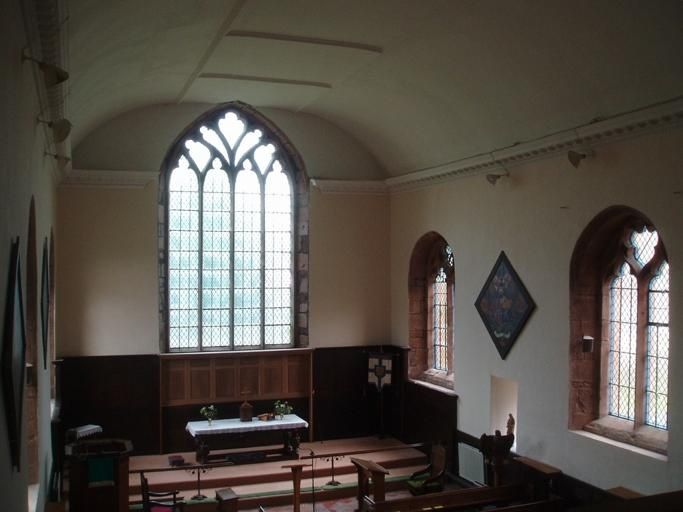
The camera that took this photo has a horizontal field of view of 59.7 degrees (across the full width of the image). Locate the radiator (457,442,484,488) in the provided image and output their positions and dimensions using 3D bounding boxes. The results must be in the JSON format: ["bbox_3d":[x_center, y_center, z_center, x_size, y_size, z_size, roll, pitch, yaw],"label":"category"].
[{"bbox_3d":[2.762,4.580,13.091,0.072,0.716,0.874,-5,-6,-26],"label":"radiator"}]

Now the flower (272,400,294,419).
[{"bbox_3d":[-1.480,3.786,14.618,0.427,0.500,0.471,1,-2,10],"label":"flower"}]

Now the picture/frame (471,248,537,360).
[{"bbox_3d":[3.401,1.007,12.299,0.070,1.832,1.735,1,20,-22],"label":"picture/frame"}]
